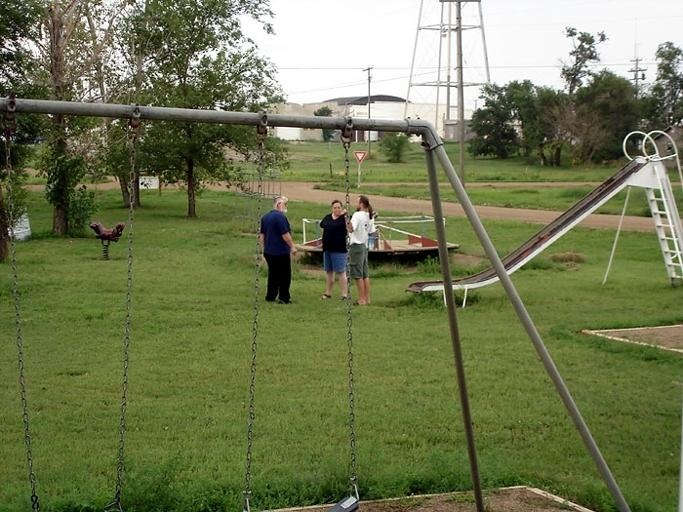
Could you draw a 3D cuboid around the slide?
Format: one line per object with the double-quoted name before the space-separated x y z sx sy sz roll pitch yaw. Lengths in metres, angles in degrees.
"slide" 5.313 -0.785 15.729 7.987 3.325 0.914 -2 -21 -8
